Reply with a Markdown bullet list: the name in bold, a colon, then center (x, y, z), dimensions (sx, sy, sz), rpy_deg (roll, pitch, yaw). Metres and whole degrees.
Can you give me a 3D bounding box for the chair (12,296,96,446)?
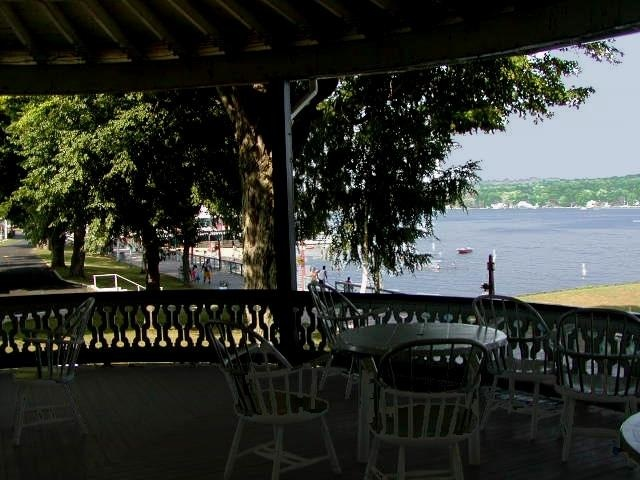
- **chair**: center (-2.651, 1.107, 6.562), dimensions (0.747, 1.177, 2.531), rpy_deg (-4, 5, -20)
